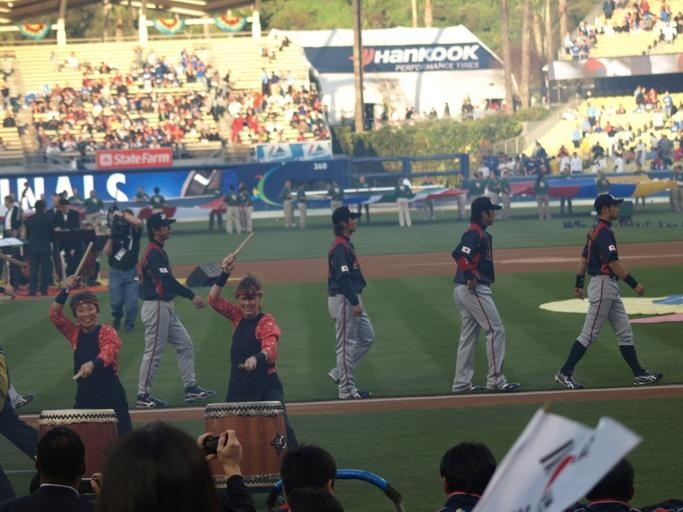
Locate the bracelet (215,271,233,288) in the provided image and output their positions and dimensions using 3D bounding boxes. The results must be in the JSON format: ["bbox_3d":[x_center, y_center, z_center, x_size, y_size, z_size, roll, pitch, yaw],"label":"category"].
[{"bbox_3d":[-3.611,0.670,48.436,0.229,0.188,0.749,35,17,2],"label":"bracelet"}]

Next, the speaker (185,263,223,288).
[{"bbox_3d":[-4.482,0.632,51.211,0.822,0.588,1.061,2,4,24],"label":"speaker"}]

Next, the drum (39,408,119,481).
[{"bbox_3d":[-7.288,5.181,43.785,2.010,1.766,2.038,-4,-4,35],"label":"drum"}]
